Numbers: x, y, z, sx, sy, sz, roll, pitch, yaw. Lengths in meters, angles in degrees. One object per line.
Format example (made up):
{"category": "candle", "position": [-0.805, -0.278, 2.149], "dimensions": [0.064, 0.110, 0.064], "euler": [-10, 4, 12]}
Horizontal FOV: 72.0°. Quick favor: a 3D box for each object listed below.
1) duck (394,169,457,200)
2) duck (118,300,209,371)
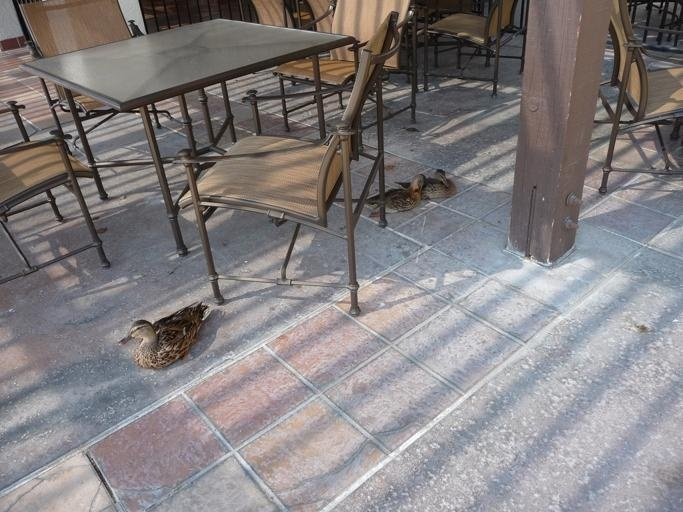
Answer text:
{"category": "duck", "position": [0.621, -0.502, 3.319], "dimensions": [0.258, 0.116, 0.325], "euler": [-29, 43, -24]}
{"category": "duck", "position": [-0.797, 0.363, 2.297], "dimensions": [0.238, 0.246, 0.395], "euler": [32, 62, 30]}
